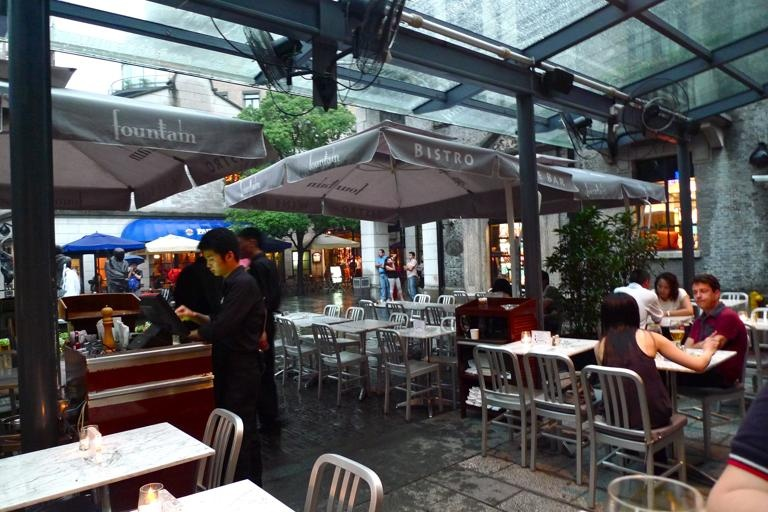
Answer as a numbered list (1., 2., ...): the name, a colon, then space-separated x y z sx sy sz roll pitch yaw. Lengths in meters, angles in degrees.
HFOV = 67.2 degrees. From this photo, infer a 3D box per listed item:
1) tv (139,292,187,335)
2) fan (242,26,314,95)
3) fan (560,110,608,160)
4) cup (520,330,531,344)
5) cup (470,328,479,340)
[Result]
1. tv: -2.383 0.623 6.210 0.630 0.428 0.142 30 59 17
2. fan: -1.300 -2.637 7.328 0.648 0.887 0.775 -15 16 4
3. fan: 4.235 -2.590 12.143 0.470 1.442 0.537 -19 -3 -26
4. cup: 1.899 1.074 7.729 0.133 0.124 0.138 0 -9 0
5. cup: 1.264 1.093 8.045 0.139 0.126 0.123 -4 -2 28
